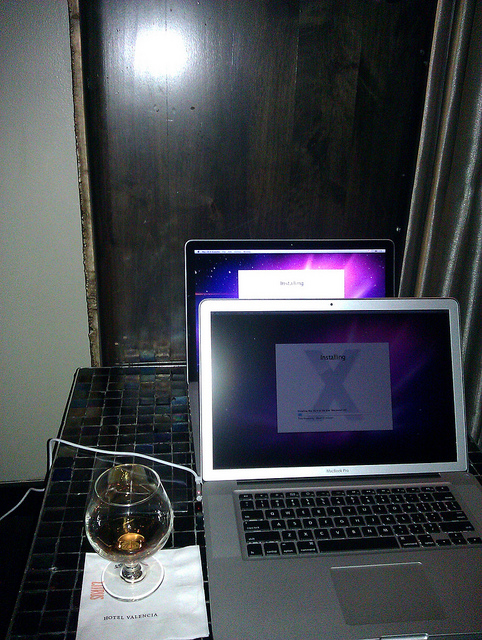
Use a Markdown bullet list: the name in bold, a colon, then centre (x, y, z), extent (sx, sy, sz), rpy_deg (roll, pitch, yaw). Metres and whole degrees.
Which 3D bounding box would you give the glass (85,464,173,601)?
- **glass**: centre (-0.122, 0.230, 0.548), extent (0.075, 0.137, 0.089), rpy_deg (-3, 17, -14)

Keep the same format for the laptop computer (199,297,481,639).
- **laptop computer**: centre (0.124, 0.186, 0.666), extent (0.292, 0.242, 0.354), rpy_deg (-2, 19, -2)

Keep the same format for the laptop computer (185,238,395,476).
- **laptop computer**: centre (0.093, 0.125, 0.966), extent (0.420, 0.449, 0.327), rpy_deg (4, -23, 3)
